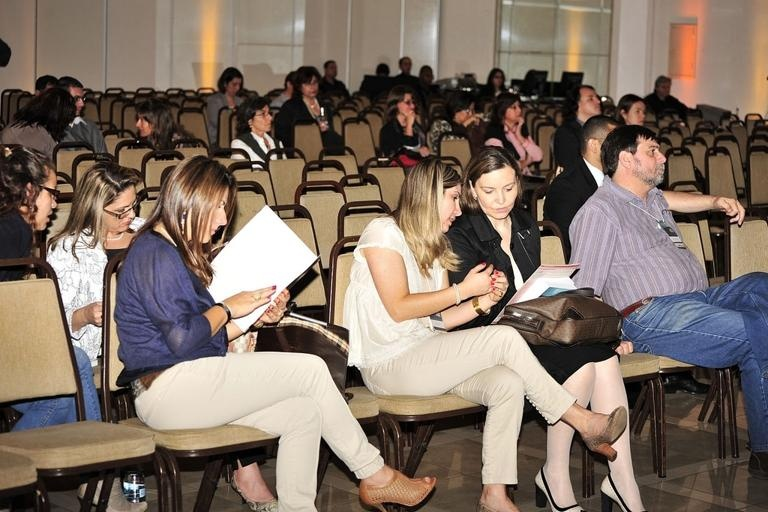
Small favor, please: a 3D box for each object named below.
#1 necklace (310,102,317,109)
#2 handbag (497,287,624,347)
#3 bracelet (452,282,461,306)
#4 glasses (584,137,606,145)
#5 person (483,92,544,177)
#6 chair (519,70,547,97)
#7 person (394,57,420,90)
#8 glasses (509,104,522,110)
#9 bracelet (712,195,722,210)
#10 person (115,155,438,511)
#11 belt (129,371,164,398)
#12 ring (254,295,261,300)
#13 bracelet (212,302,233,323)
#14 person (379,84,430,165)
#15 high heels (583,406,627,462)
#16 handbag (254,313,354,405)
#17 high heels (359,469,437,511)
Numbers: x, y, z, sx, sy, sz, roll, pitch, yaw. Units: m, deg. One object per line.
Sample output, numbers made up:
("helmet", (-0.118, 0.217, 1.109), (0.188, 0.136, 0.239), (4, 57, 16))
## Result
("necklace", (-0.946, -2.020, 8.238), (0.066, 0.049, 0.084), (-2, 10, -2))
("handbag", (0.855, 0.244, 2.927), (0.398, 0.204, 0.287), (1, 2, -30))
("bracelet", (0.344, 0.176, 2.901), (0.043, 0.096, 0.040), (4, 7, 33))
("glasses", (1.522, -0.837, 4.437), (0.103, 0.039, 0.111), (-6, 4, -21))
("person", (1.671, -1.575, 8.289), (0.799, 1.214, 0.600), (-5, 5, -29))
("chair", (4.474, -5.108, 18.262), (0.683, 1.071, 0.989), (5, 0, 23))
("person", (0.578, -4.922, 16.486), (0.862, 0.808, 0.432), (-7, 10, -18))
("glasses", (1.759, -1.997, 8.232), (0.084, 0.056, 0.116), (33, 37, 16))
("bracelet", (2.158, -0.347, 3.971), (0.065, 0.076, 0.067), (-5, 15, -13))
("person", (-0.564, 0.355, 2.558), (1.103, 1.521, 0.310), (1, 6, 7))
("belt", (-0.967, 0.518, 2.512), (0.073, 0.073, 0.075), (38, -1, 18))
("ring", (-0.529, 0.169, 2.551), (0.019, 0.021, 0.006), (-1, 3, -7))
("bracelet", (-0.651, 0.228, 2.511), (0.026, 0.074, 0.068), (-10, -12, 37))
("person", (0.297, -1.526, 7.433), (0.639, 1.028, 0.719), (1, 32, 12))
("high heels", (1.008, 0.773, 2.799), (0.093, 0.287, 0.147), (14, 33, 43))
("handbag", (-0.351, 0.424, 2.611), (0.294, 0.361, 0.391), (1, -8, -1))
("high heels", (0.059, 1.050, 2.759), (0.291, 0.147, 0.174), (-9, 12, 0))
